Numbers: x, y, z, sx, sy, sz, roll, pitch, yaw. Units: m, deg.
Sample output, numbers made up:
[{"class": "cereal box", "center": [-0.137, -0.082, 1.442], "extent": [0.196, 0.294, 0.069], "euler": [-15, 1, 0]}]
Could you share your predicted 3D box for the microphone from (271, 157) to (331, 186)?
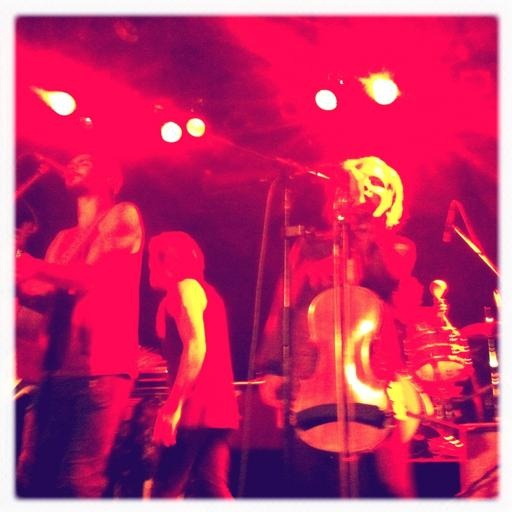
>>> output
[{"class": "microphone", "center": [0.253, -0.481, 3.617], "extent": [0.270, 0.077, 0.078], "euler": [27, -42, 12]}]

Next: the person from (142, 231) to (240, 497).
[{"class": "person", "center": [-0.417, 0.660, 3.915], "extent": [0.685, 1.590, 0.263], "euler": [7, -21, -5]}]

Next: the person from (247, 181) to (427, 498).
[{"class": "person", "center": [0.564, 0.325, 3.906], "extent": [0.816, 2.128, 0.602], "euler": [-2, -6, 18]}]

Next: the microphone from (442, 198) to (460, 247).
[{"class": "microphone", "center": [1.264, -0.219, 4.092], "extent": [0.107, 0.278, 0.055], "euler": [-1, -22, 15]}]

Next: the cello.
[{"class": "cello", "center": [0.528, 0.437, 3.534], "extent": [0.571, 1.343, 0.987], "euler": [6, -22, -1]}]

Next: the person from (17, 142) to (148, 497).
[{"class": "person", "center": [-1.117, 0.401, 3.966], "extent": [0.795, 2.083, 0.413], "euler": [8, -21, -6]}]
